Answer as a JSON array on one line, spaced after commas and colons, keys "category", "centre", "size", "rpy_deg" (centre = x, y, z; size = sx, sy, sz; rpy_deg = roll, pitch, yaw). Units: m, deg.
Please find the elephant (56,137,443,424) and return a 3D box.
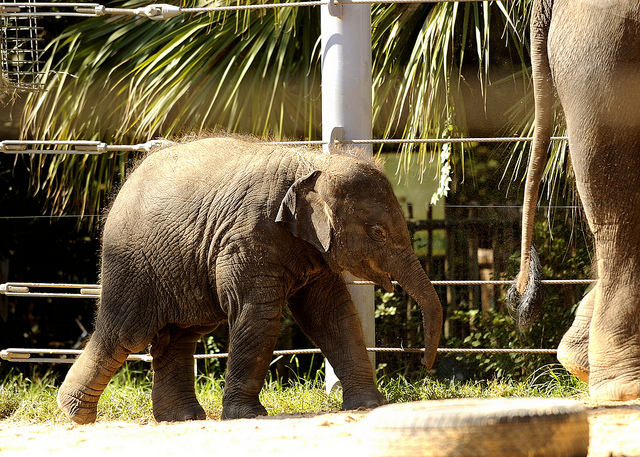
[{"category": "elephant", "centre": [-0.360, 0.232, 5.165], "size": [1.745, 1.483, 0.872], "rpy_deg": [-2, 7, -1]}]
